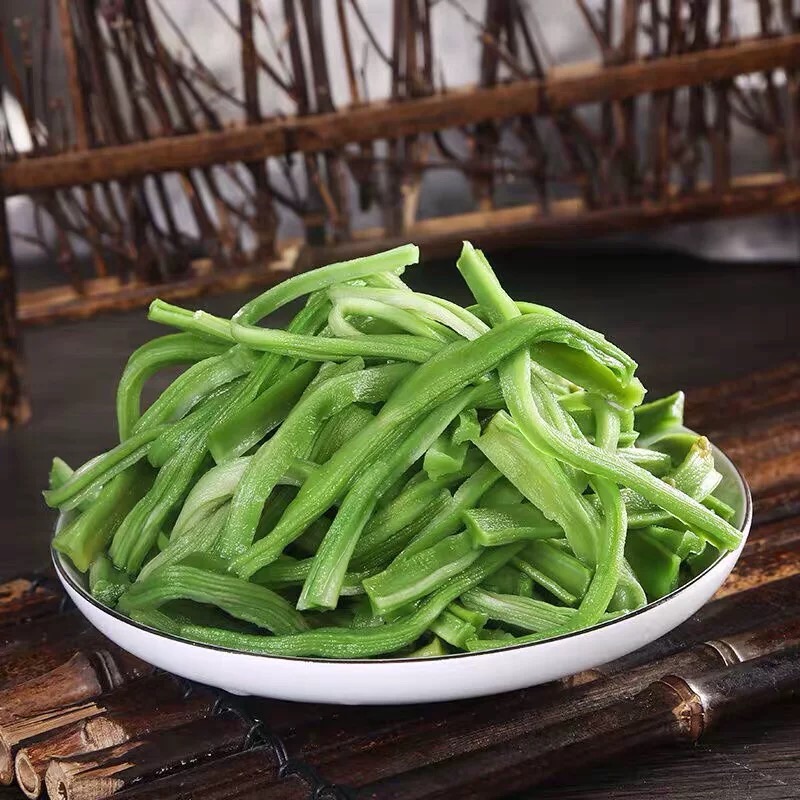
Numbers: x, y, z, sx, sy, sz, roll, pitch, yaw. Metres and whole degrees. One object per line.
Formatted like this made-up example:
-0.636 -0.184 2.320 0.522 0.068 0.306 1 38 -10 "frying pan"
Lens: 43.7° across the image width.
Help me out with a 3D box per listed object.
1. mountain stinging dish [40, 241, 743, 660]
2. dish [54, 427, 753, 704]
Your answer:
0.038 -0.016 0.928 0.468 0.352 0.540 -9 17 -27 "mountain stinging dish"
-0.018 0.174 0.799 0.592 0.112 0.160 -7 14 8 "dish"
